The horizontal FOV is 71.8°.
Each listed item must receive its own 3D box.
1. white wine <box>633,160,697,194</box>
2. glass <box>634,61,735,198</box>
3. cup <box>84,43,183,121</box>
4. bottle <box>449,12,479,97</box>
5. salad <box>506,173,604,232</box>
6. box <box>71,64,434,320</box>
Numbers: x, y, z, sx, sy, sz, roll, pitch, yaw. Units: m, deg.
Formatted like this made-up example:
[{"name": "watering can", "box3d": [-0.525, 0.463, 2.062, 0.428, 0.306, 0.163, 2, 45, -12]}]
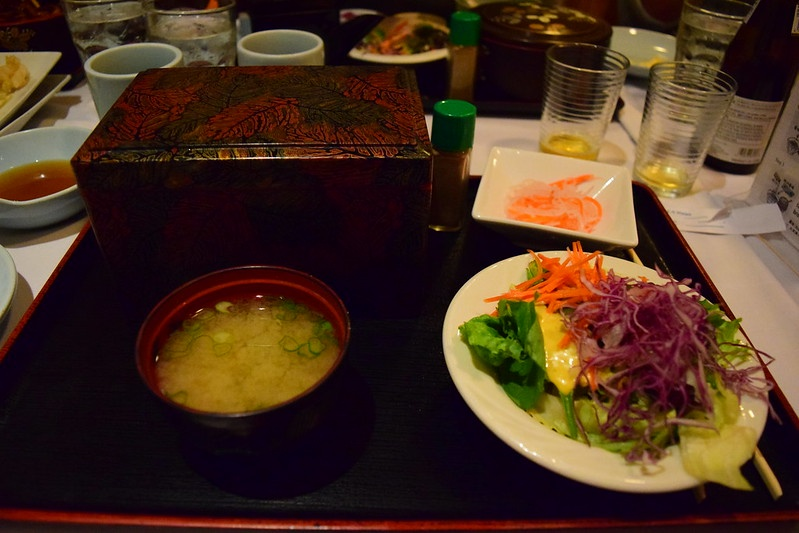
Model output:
[{"name": "white wine", "box3d": [0.795, -0.267, 1.672, 0.131, 0.077, 0.129, 27, 59, 25]}, {"name": "glass", "box3d": [0.850, -0.396, 1.635, 0.262, 0.325, 0.269, -20, 45, -15]}, {"name": "cup", "box3d": [-0.745, -0.510, 1.617, 0.275, 0.187, 0.250, 3, 50, -4]}, {"name": "bottle", "box3d": [0.217, -0.710, 1.887, 0.100, 0.283, 0.163, 4, 49, 6]}, {"name": "salad", "box3d": [0.409, -0.166, 1.470, 0.204, 0.045, 0.193, 10, 38, 9]}, {"name": "box", "box3d": [-0.310, -0.035, 1.585, 0.997, 0.583, 0.498, 1, 50, 0]}]
